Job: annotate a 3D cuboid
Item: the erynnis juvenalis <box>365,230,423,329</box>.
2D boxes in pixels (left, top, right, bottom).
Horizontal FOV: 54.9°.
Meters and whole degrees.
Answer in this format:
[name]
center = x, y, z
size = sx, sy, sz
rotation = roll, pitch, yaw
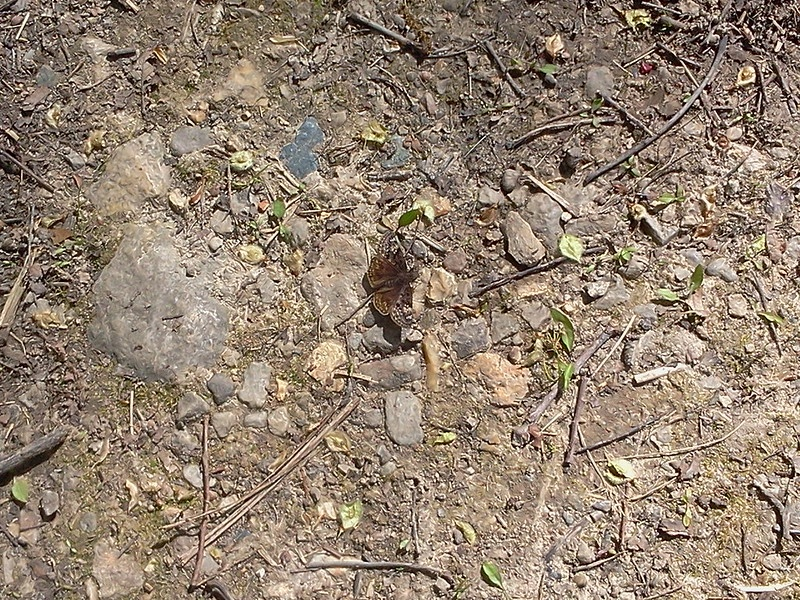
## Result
[erynnis juvenalis]
center = -0.041, -0.085, 4.042
size = 0.293, 0.181, 0.708
rotation = 1, 75, -1
